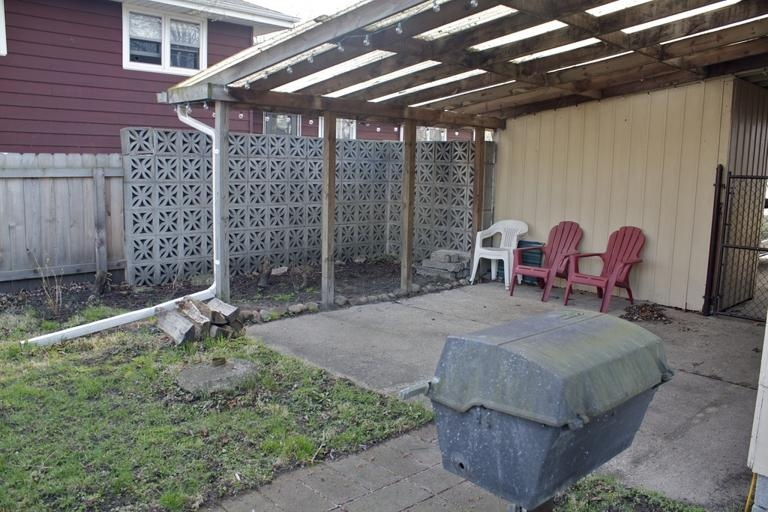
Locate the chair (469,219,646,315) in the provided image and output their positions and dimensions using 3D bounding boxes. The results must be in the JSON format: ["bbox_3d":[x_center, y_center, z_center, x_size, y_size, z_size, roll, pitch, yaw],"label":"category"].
[{"bbox_3d":[3.247,0.080,8.976,1.824,1.260,1.375,10,15,34],"label":"chair"}]
